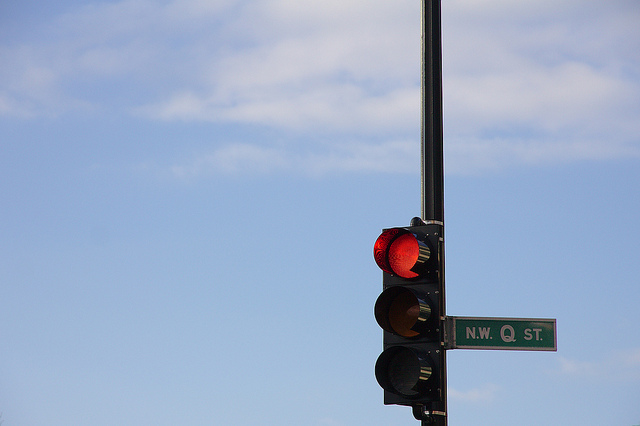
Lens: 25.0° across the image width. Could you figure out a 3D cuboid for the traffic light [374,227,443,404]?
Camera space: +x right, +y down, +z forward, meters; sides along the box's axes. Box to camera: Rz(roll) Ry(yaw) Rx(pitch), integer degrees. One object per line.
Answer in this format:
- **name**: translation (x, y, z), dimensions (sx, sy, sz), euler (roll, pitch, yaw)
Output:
- **traffic light**: translation (0.583, 0.672, 9.649), dimensions (0.480, 1.179, 0.163), euler (-4, -11, 3)
